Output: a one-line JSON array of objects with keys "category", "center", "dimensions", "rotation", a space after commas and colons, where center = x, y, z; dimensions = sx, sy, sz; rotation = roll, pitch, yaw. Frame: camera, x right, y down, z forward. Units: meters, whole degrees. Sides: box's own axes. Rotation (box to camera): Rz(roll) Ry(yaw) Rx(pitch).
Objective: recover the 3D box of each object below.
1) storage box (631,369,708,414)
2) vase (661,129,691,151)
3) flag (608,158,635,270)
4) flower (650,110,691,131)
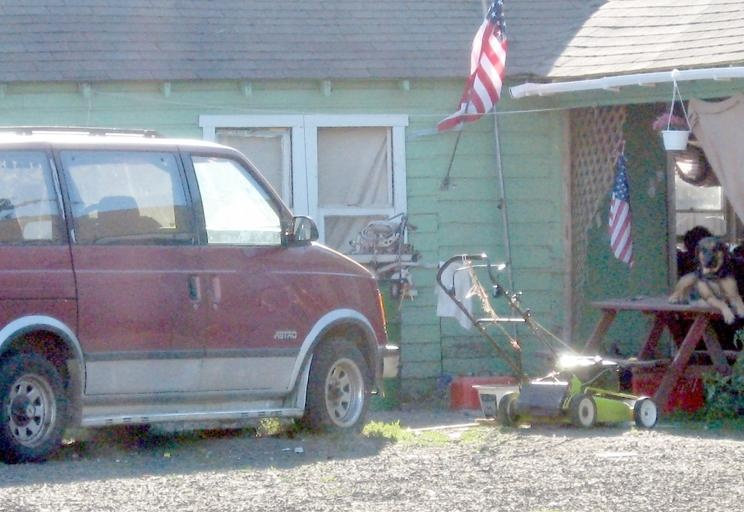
[{"category": "storage box", "center": [3.417, 1.512, 20.201], "dimensions": [0.511, 0.544, 0.737], "rotation": [-1, 2, -31]}, {"category": "vase", "center": [3.455, -1.334, 20.300], "dimensions": [0.265, 0.168, 0.265], "rotation": [0, -4, 34]}, {"category": "flag", "center": [3.060, -0.586, 21.988], "dimensions": [0.299, 1.397, 0.620], "rotation": [-1, 1, 8]}, {"category": "flower", "center": [3.582, -1.615, 21.239], "dimensions": [0.302, 0.176, 0.329], "rotation": [2, 3, 31]}]
